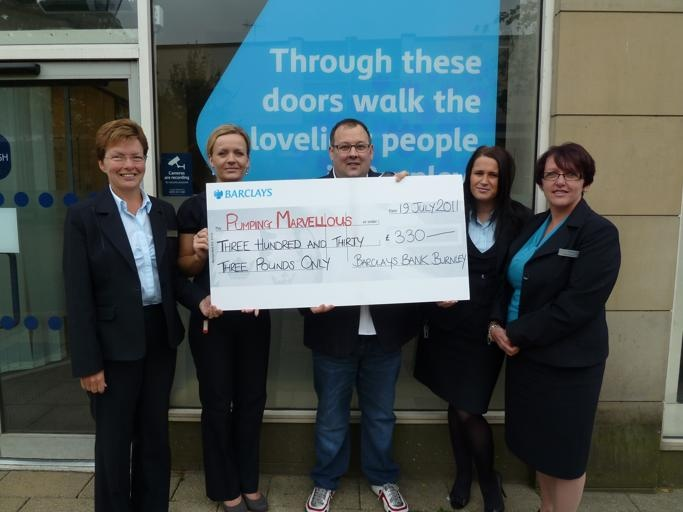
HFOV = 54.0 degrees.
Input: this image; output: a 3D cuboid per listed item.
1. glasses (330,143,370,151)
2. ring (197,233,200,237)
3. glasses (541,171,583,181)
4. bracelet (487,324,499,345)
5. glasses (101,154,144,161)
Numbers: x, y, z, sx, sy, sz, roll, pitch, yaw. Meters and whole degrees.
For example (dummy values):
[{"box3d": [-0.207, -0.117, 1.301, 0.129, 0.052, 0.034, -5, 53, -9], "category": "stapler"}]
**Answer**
[{"box3d": [0.060, -0.689, 4.274, 0.254, 0.067, 0.106, -1, 9, -1], "category": "glasses"}, {"box3d": [-0.891, -0.128, 4.141, 0.004, 0.018, 0.017, 12, -9, -43], "category": "ring"}, {"box3d": [1.307, -0.466, 3.967, 0.201, 0.056, 0.033, 3, 9, 19], "category": "glasses"}, {"box3d": [0.940, 0.491, 4.197, 0.031, 0.126, 0.086, 3, 2, 27], "category": "bracelet"}, {"box3d": [-1.297, -0.578, 3.992, 0.213, 0.037, 0.055, -5, 10, -24], "category": "glasses"}]
